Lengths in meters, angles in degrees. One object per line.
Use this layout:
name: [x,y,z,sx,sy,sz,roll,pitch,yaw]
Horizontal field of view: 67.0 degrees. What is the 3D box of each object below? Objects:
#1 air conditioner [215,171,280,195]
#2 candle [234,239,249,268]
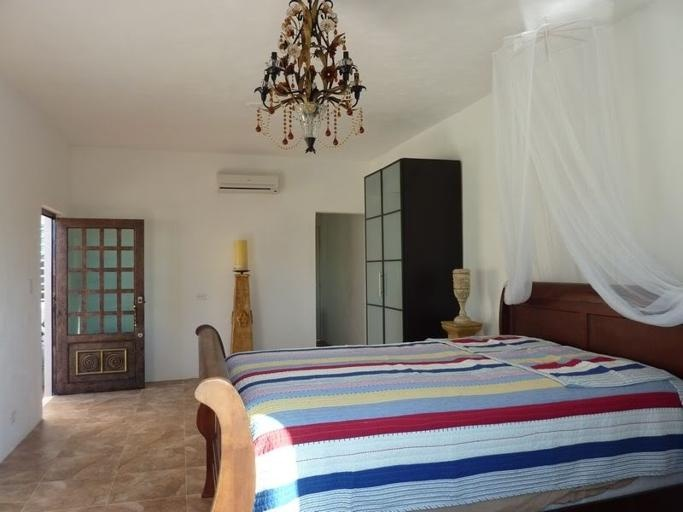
air conditioner: [-1.248,-0.996,7.002,0.859,0.326,0.219,-4,13,-12]
candle: [-1.326,0.005,6.729,0.170,0.389,0.168,-3,12,-12]
